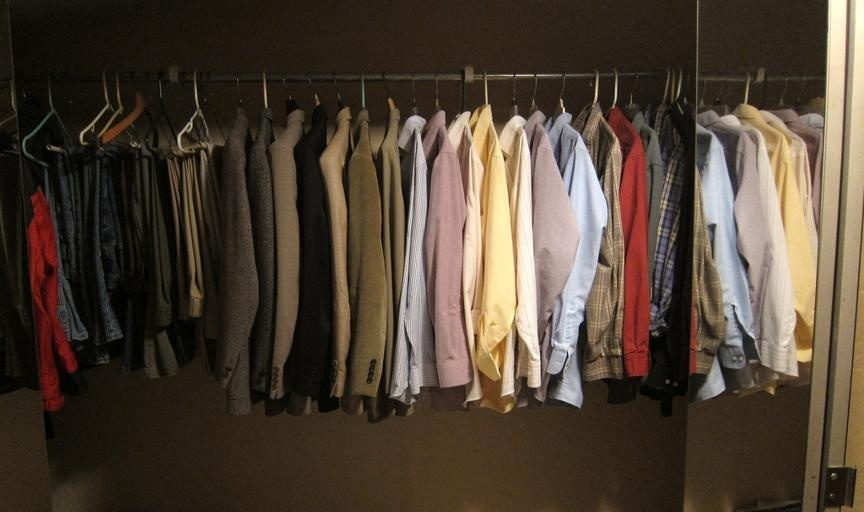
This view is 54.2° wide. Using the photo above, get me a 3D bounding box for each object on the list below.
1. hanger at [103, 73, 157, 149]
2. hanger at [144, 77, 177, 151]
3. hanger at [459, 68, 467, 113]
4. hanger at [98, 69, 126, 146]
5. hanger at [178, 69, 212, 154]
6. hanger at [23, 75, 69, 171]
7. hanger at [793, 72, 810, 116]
[{"bbox_3d":[-1.167,-0.524,3.099,0.061,0.239,0.237,0,35,28],"label":"hanger"},{"bbox_3d":[-1.036,-0.547,3.233,0.094,0.239,0.018,10,20,43],"label":"hanger"},{"bbox_3d":[0.108,-0.585,2.990,0.018,0.156,0.038,-3,4,2],"label":"hanger"},{"bbox_3d":[-1.184,-0.534,3.083,0.031,0.263,0.126,2,10,13],"label":"hanger"},{"bbox_3d":[-0.888,-0.517,3.135,0.022,0.336,0.135,-7,-11,38],"label":"hanger"},{"bbox_3d":[-1.311,-0.466,2.898,0.232,0.286,0.010,2,-1,18],"label":"hanger"},{"bbox_3d":[1.044,-0.455,2.385,0.053,0.088,0.022,-2,13,-12],"label":"hanger"}]
